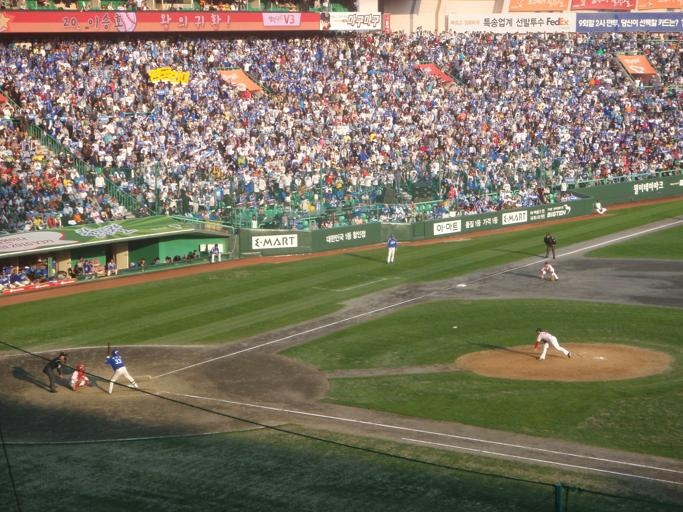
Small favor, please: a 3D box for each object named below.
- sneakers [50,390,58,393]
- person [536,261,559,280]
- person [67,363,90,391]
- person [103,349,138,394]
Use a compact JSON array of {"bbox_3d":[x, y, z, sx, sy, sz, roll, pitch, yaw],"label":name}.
[{"bbox_3d":[-13.467,6.292,44.685,0.245,0.141,0.220,-4,11,-15],"label":"sneakers"},{"bbox_3d":[13.454,0.821,61.520,1.242,1.177,2.710,1,10,12],"label":"person"},{"bbox_3d":[-12.602,5.825,45.713,0.915,0.950,1.080,14,19,27],"label":"person"},{"bbox_3d":[-10.226,5.264,44.642,1.534,0.788,2.156,-15,48,7],"label":"person"}]
